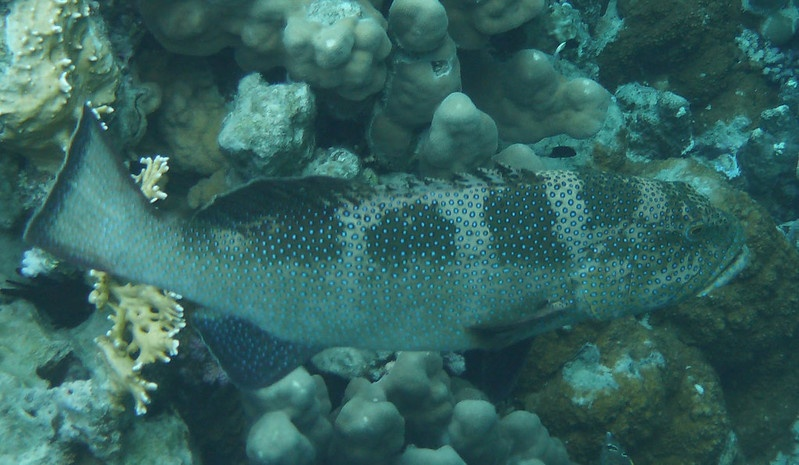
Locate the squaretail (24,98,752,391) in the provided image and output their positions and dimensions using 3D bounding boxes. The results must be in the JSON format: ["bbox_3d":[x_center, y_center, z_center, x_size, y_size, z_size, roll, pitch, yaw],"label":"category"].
[{"bbox_3d":[-0.169,0.376,10.714,7.271,1.855,2.363,1,-57,-7],"label":"squaretail"}]
